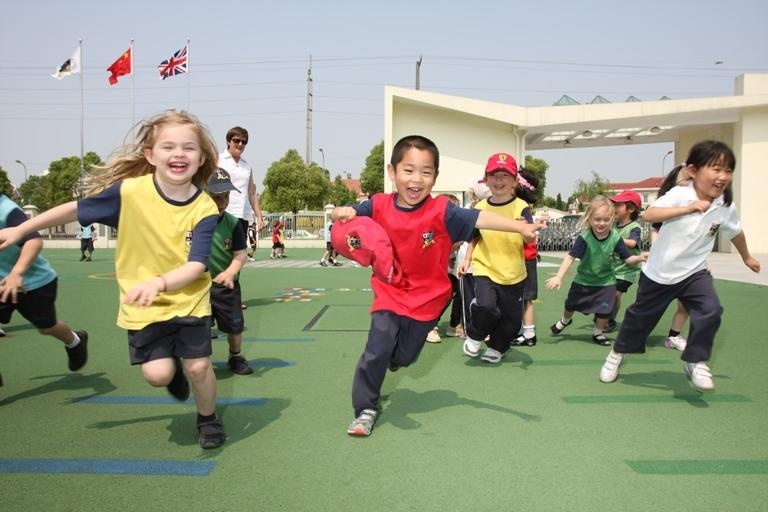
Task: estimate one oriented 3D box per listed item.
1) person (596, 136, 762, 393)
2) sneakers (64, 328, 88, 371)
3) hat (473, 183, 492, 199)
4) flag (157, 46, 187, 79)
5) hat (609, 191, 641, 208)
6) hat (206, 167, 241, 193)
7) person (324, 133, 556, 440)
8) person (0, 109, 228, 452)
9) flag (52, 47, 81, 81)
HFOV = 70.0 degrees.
[{"bbox_3d":[2.328,0.073,4.423,0.811,1.975,0.839,7,12,37],"label":"person"},{"bbox_3d":[-2.549,0.808,4.590,0.153,0.377,0.167,5,13,16],"label":"sneakers"},{"bbox_3d":[1.072,-0.733,6.121,0.169,0.159,0.210,-12,2,-12],"label":"hat"},{"bbox_3d":[-9.139,-8.422,23.743,1.329,1.202,0.628,7,12,35],"label":"flag"},{"bbox_3d":[2.855,-0.674,6.313,0.429,0.159,0.280,9,5,-4],"label":"hat"},{"bbox_3d":[-1.383,-0.630,4.662,0.237,0.170,0.342,-4,4,-39],"label":"hat"},{"bbox_3d":[0.187,0.177,3.738,1.060,1.979,0.595,-1,10,-5],"label":"person"},{"bbox_3d":[-1.524,0.156,3.406,0.980,2.132,0.791,-3,10,-17],"label":"person"},{"bbox_3d":[-14.091,-8.717,24.501,0.952,1.562,2.503,-5,11,-27],"label":"flag"}]
